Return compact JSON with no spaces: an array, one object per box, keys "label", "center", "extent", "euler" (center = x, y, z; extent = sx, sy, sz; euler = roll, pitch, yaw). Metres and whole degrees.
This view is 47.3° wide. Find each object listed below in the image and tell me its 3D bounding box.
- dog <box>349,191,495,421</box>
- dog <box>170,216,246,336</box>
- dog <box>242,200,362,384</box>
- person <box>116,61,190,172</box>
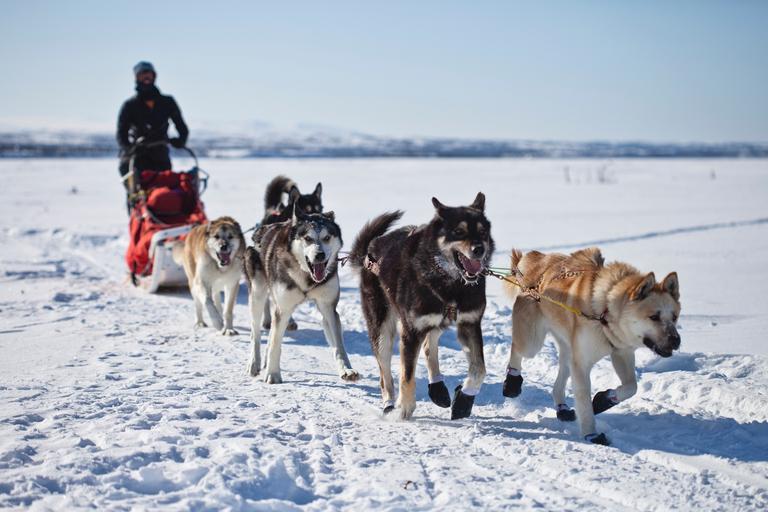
[{"label":"dog","center":[0.526,0.643,11.594],"extent":[1.907,2.827,1.102],"euler":[6,12,24]},{"label":"dog","center":[-2.863,0.233,14.761],"extent":[0.815,1.806,1.907],"euler":[-4,12,-25]},{"label":"dog","center":[-1.292,0.502,12.606],"extent":[2.109,2.390,1.307],"euler":[11,15,41]},{"label":"person","center":[-4.369,-2.526,16.343],"extent":[1.219,2.076,0.613],"euler":[-2,12,-17]}]
